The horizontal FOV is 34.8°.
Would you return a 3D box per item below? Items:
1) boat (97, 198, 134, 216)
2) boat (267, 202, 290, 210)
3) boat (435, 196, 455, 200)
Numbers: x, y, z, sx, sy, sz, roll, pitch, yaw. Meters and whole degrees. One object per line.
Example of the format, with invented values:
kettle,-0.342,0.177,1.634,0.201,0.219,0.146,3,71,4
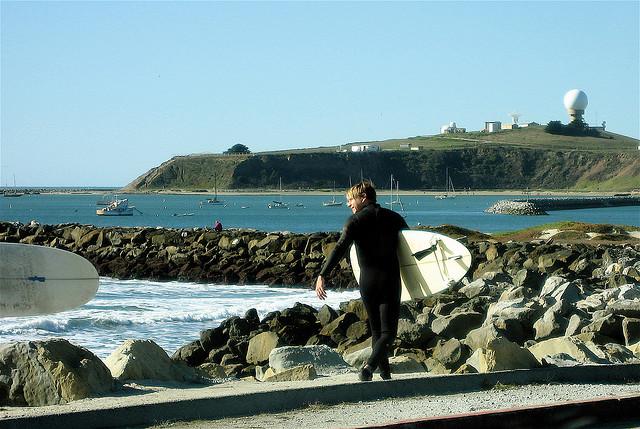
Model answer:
boat,-18.939,-0.871,94.191,2.775,1.614,3.414,-1,-7,-9
boat,-5.393,-1.355,128.787,2.070,1.266,0.923,-4,14,9
boat,20.131,-3.029,161.936,2.432,0.729,2.487,-1,-7,-8
